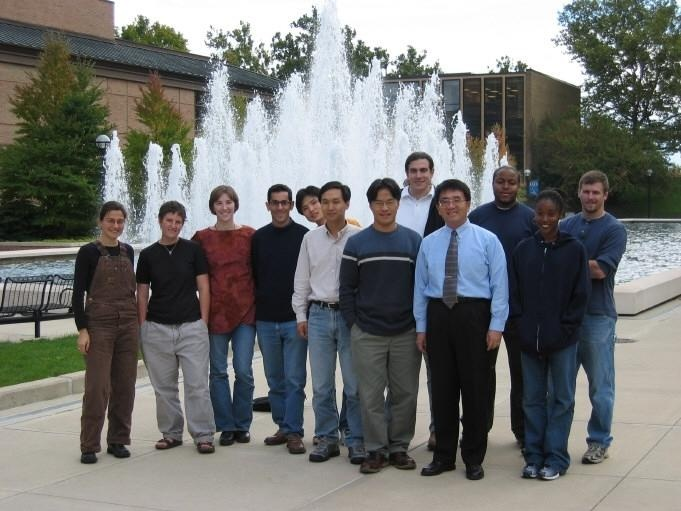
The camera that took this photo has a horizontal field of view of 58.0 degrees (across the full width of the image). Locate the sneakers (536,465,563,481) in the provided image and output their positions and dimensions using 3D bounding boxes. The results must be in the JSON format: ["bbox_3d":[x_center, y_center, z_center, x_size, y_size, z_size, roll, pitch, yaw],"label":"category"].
[{"bbox_3d":[1.723,1.814,5.099,0.192,0.077,0.081,20,-24,-39],"label":"sneakers"}]

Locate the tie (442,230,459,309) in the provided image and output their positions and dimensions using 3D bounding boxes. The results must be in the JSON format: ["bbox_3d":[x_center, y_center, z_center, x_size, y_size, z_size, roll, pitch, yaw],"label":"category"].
[{"bbox_3d":[0.964,0.112,5.371,0.127,0.663,0.175,-1,3,10],"label":"tie"}]

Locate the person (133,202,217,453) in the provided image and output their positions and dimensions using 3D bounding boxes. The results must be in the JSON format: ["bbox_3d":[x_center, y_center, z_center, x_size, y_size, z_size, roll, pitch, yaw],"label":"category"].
[{"bbox_3d":[-1.652,0.689,6.077,0.717,2.419,0.637,-2,3,-15],"label":"person"}]

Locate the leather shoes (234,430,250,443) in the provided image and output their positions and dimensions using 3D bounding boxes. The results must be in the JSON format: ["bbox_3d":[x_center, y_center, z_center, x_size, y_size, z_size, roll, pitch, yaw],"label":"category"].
[{"bbox_3d":[-1.012,1.847,6.261,0.154,0.100,0.119,-2,3,-11],"label":"leather shoes"}]

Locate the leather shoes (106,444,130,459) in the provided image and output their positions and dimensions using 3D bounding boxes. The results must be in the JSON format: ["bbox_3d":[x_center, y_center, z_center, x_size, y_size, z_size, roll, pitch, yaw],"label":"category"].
[{"bbox_3d":[-2.130,1.838,5.843,0.263,0.118,0.100,-2,-1,41],"label":"leather shoes"}]

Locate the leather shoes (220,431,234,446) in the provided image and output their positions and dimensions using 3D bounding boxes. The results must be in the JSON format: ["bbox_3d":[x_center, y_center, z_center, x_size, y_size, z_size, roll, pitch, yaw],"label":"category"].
[{"bbox_3d":[-1.151,1.847,6.213,0.156,0.105,0.131,-2,3,-12],"label":"leather shoes"}]

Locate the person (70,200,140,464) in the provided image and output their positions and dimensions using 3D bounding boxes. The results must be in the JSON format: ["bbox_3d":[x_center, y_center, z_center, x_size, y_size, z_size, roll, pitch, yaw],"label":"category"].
[{"bbox_3d":[-2.235,0.885,5.888,0.597,2.025,0.539,-2,3,-24],"label":"person"}]

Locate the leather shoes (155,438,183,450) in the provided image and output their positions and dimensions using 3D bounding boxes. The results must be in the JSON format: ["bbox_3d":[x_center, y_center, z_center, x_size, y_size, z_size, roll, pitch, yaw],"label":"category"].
[{"bbox_3d":[-1.713,1.848,6.063,0.090,0.064,0.234,-2,-10,20],"label":"leather shoes"}]

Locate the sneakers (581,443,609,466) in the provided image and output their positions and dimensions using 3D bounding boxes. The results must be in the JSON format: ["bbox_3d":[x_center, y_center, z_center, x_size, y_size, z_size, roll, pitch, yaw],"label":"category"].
[{"bbox_3d":[2.258,1.755,5.443,0.110,0.135,0.311,-7,-9,37],"label":"sneakers"}]

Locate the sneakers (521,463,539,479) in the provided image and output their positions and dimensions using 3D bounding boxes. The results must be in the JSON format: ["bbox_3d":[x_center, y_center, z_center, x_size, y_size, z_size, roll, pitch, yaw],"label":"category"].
[{"bbox_3d":[1.610,1.825,5.201,0.126,0.084,0.119,0,3,24],"label":"sneakers"}]

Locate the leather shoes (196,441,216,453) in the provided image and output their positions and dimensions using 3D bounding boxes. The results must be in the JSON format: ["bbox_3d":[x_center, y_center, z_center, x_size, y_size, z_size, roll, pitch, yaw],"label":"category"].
[{"bbox_3d":[-1.334,1.848,5.958,0.232,0.100,0.131,-1,3,15],"label":"leather shoes"}]

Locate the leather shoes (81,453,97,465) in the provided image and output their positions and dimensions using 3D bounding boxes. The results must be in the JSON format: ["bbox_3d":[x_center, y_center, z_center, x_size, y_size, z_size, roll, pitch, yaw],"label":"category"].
[{"bbox_3d":[-2.322,1.851,5.655,0.139,0.095,0.127,-3,3,-26],"label":"leather shoes"}]

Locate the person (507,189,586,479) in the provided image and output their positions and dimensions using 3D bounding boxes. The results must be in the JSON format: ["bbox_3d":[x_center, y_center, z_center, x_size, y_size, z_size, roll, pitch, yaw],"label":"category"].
[{"bbox_3d":[1.785,0.652,5.285,0.667,2.429,0.528,0,3,23],"label":"person"}]

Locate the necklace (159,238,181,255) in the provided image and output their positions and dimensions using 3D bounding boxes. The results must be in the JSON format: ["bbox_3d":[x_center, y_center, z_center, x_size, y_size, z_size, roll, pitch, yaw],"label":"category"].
[{"bbox_3d":[-1.731,-0.084,6.191,0.105,0.155,0.037,-4,-10,-6],"label":"necklace"}]
